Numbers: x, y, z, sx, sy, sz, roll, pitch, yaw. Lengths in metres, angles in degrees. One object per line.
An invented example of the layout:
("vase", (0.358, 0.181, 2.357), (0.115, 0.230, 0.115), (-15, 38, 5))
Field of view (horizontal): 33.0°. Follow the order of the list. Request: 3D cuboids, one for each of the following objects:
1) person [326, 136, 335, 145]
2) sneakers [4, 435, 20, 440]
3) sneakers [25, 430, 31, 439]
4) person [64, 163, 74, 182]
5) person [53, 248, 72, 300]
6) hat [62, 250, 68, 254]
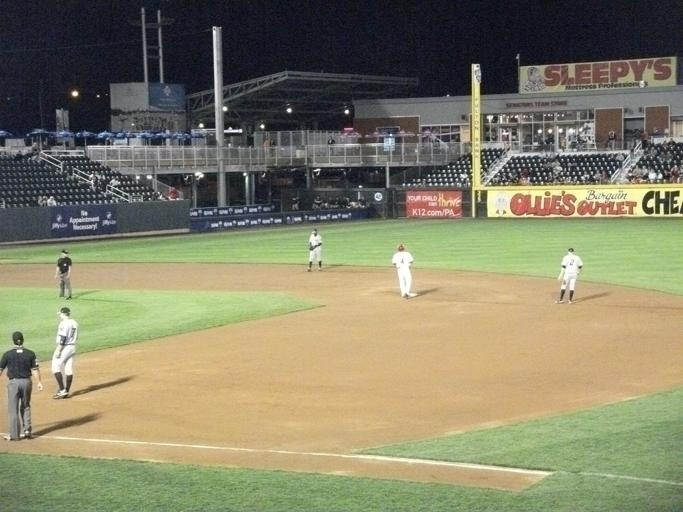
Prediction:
("person", (-0.731, -8.508, 83.526), (0.601, 0.652, 0.389), (-2, 3, 7))
("sneakers", (-8.672, 4.783, 30.333), (0.385, 0.150, 0.156), (8, 3, 1))
("sneakers", (-8.249, 4.708, 30.357), (0.157, 0.154, 0.164), (-4, 4, 14))
("person", (-16.248, -5.041, 68.657), (0.298, 0.938, 1.020), (-24, 24, -10))
("person", (-10.367, 0.626, 43.145), (0.473, 1.770, 1.495), (-3, 3, -13))
("hat", (-11.271, -0.232, 46.996), (0.235, 0.151, 0.226), (-5, 9, -35))
